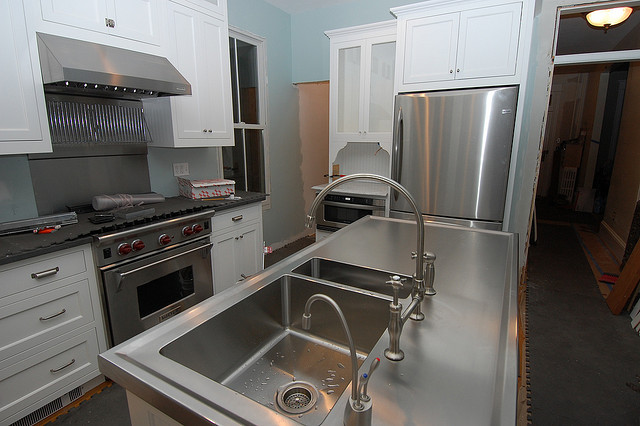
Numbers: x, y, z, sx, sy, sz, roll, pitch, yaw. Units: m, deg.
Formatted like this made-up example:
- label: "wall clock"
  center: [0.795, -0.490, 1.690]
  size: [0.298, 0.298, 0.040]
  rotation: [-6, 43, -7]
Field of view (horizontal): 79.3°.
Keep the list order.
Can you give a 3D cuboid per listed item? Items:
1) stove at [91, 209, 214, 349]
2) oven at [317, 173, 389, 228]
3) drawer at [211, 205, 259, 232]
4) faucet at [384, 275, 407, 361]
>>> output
- label: "stove"
  center: [-1.538, 0.494, 3.714]
  size: [0.961, 1.408, 1.038]
  rotation: [3, 10, 31]
- label: "oven"
  center: [0.428, -0.036, 4.925]
  size: [0.879, 0.821, 0.601]
  rotation: [5, 31, 12]
- label: "drawer"
  center: [-0.821, 0.032, 3.829]
  size: [0.031, 0.156, 0.614]
  rotation: [10, 19, 34]
- label: "faucet"
  center: [0.393, 0.525, 2.030]
  size: [0.098, 0.383, 0.266]
  rotation: [1, 16, 10]
